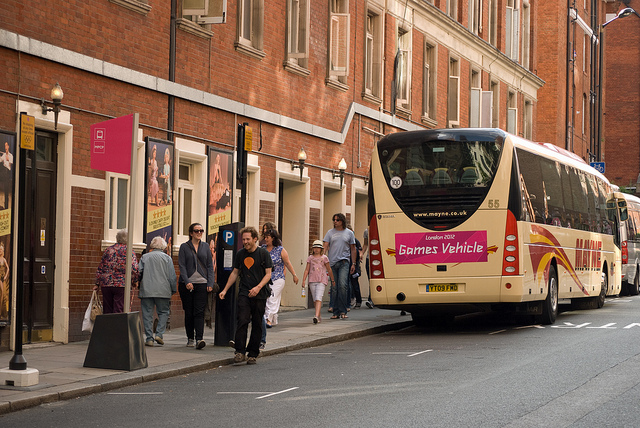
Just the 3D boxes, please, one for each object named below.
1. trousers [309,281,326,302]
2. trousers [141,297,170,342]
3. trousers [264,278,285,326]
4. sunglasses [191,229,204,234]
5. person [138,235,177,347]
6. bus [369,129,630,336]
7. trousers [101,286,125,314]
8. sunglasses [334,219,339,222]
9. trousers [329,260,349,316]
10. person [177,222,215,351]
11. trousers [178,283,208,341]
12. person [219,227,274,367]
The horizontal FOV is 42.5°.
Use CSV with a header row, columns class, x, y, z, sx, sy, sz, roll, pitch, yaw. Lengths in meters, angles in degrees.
class,x,y,z,sx,sy,sz,roll,pitch,yaw
trousers,-0.084,1.875,20.046,0.322,0.489,0.521,1,-10,-22
trousers,-3.246,2.038,15.974,0.523,0.824,0.747,-1,-10,-14
trousers,-1.071,2.001,18.850,0.445,0.996,1.179,-2,-9,-4
sunglasses,-2.435,0.320,16.174,0.220,0.078,0.099,2,-11,-31
person,-3.162,1.492,15.925,0.745,2.076,0.661,-4,-9,5
bus,6.106,0.577,22.060,3.502,4.782,11.971,-12,-13,43
trousers,-4.091,1.637,15.903,0.557,0.501,0.261,-9,-11,32
sunglasses,0.399,0.135,21.252,0.038,0.070,0.163,5,-13,-42
trousers,0.516,1.907,21.216,0.473,1.394,0.705,-3,-9,1
person,-2.452,1.379,16.028,0.682,2.459,0.566,-1,-9,-11
trousers,-2.521,1.877,15.943,0.549,1.130,0.415,-5,-9,14
person,-1.334,1.456,15.112,0.848,2.557,1.109,-2,-9,-8
